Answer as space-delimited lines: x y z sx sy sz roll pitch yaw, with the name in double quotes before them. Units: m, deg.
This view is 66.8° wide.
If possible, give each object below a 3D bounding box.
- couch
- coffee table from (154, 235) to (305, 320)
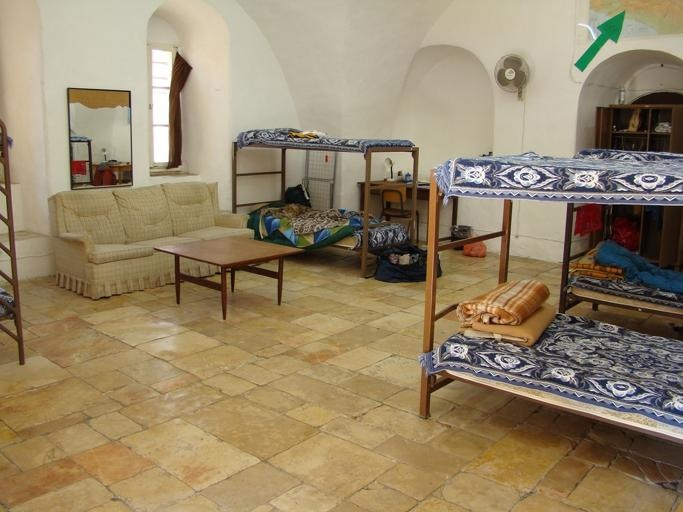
"couch" -2.627 -0.366 7.377 1.230 0.985 2.478 26 26 30
"coffee table" -1.505 0.125 6.437 1.453 0.593 1.397 9 12 41
